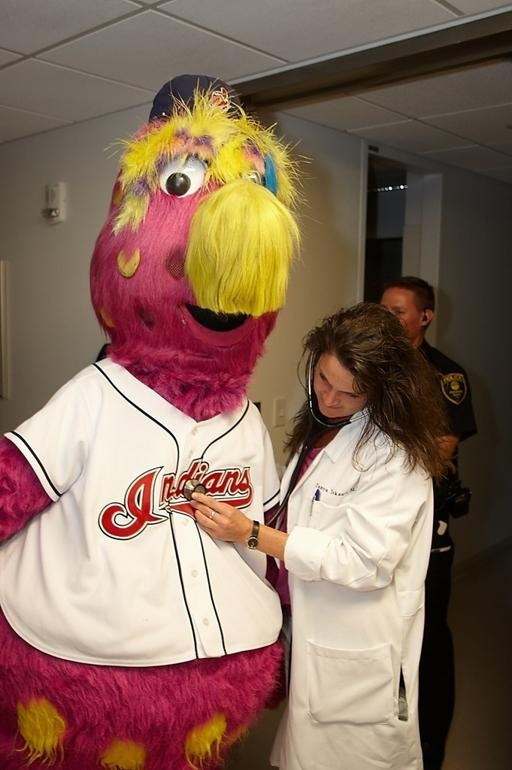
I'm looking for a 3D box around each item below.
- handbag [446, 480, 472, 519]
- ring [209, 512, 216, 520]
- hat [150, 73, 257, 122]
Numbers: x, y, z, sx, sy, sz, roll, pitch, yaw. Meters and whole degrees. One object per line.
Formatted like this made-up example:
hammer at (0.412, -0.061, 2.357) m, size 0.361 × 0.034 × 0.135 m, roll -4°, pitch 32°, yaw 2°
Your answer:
handbag at (0.666, 0.400, 2.181) m, size 0.090 × 0.118 × 0.171 m, roll 0°, pitch -11°, yaw 10°
ring at (-0.076, 0.230, 1.117) m, size 0.010 × 0.013 × 0.005 m, roll 0°, pitch -6°, yaw 6°
hat at (-0.102, -0.535, 1.191) m, size 0.143 × 0.104 × 0.102 m, roll 13°, pitch 27°, yaw 25°
